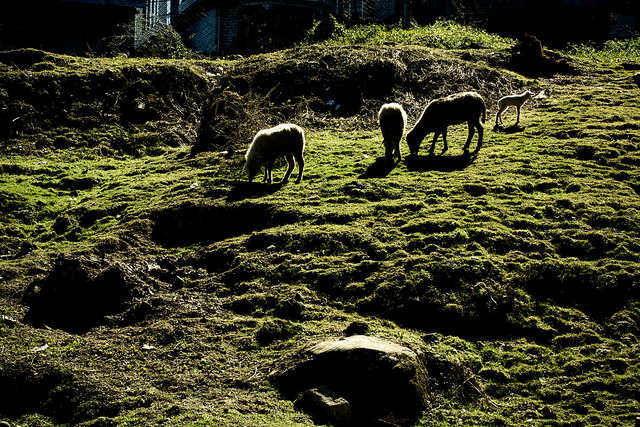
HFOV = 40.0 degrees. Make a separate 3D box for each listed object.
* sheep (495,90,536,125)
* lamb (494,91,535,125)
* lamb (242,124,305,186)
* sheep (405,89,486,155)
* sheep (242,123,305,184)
[{"bbox_3d":[6.020,-3.215,26.893,1.246,0.973,0.423,-4,2,5],"label":"sheep"},{"bbox_3d":[5.968,-3.232,27.045,0.954,1.122,0.865,9,13,9],"label":"lamb"},{"bbox_3d":[-1.236,-1.637,24.363,1.633,1.599,0.808,6,13,-6],"label":"lamb"},{"bbox_3d":[3.787,-2.658,25.859,2.157,1.939,1.643,9,13,8],"label":"sheep"},{"bbox_3d":[-1.268,-1.562,24.639,2.322,1.703,0.654,-14,10,-43],"label":"sheep"}]
